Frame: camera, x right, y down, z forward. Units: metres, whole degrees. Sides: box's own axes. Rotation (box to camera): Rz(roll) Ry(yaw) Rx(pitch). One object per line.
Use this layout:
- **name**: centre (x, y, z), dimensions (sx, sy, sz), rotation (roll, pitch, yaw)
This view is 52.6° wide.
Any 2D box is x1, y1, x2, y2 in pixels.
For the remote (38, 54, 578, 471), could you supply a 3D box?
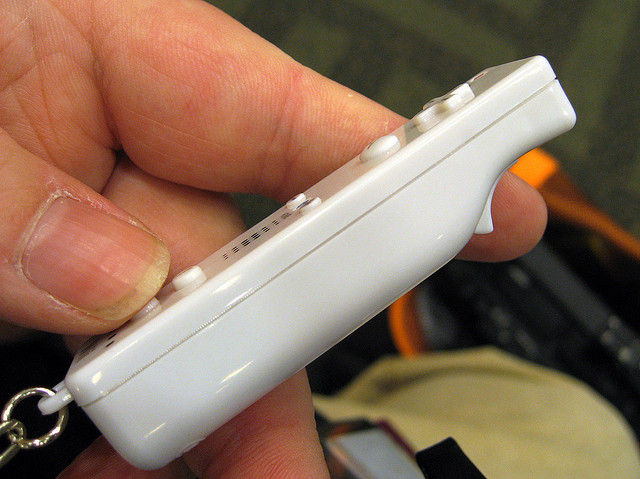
- **remote**: centre (-0.029, 0.043, 0.798), dimensions (0.754, 0.210, 0.225), rotation (-29, 104, -1)
